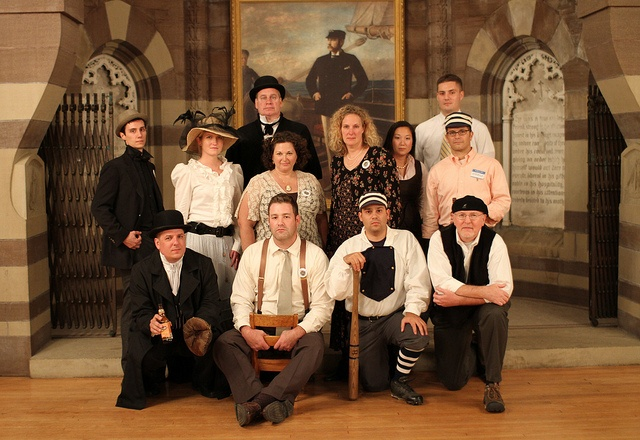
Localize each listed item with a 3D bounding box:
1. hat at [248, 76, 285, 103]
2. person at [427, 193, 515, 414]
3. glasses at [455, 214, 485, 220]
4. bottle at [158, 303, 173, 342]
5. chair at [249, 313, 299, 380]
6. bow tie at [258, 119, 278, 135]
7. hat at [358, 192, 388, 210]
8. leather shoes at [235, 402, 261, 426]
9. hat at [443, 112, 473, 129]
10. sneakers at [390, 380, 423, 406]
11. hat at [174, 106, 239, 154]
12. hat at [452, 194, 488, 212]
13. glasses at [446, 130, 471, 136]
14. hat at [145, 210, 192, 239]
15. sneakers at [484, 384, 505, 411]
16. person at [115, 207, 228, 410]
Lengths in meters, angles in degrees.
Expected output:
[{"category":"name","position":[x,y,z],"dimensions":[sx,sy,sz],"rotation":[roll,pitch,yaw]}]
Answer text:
[{"category":"hat","position":[-0.546,-1.367,6.782],"dimensions":[0.343,0.264,0.332],"rotation":[-1,4,-8]},{"category":"person","position":[1.373,0.731,6.086],"dimensions":[0.788,1.898,0.548],"rotation":[2,4,31]},{"category":"glasses","position":[1.362,-0.027,6.005],"dimensions":[0.252,0.068,0.073],"rotation":[1,4,11]},{"category":"bottle","position":[-1.395,0.949,5.919],"dimensions":[0.123,0.341,0.248],"rotation":[-1,4,-14]},{"category":"chair","position":[-0.395,1.233,5.767],"dimensions":[0.455,0.772,0.468],"rotation":[1,-1,-5]},{"category":"bow tie","position":[-0.518,-0.950,6.770],"dimensions":[0.140,0.183,0.067],"rotation":[3,-2,2]},{"category":"hat","position":[0.473,-0.175,6.006],"dimensions":[0.254,0.160,0.166],"rotation":[0,4,5]},{"category":"leather shoes","position":[-0.612,1.679,5.653],"dimensions":[0.210,0.194,0.116],"rotation":[-3,5,-41]},{"category":"hat","position":[1.326,-0.962,6.332],"dimensions":[0.238,0.167,0.182],"rotation":[1,4,16]},{"category":"sneakers","position":[0.770,1.577,5.976],"dimensions":[0.134,0.144,0.317],"rotation":[-3,6,-42]},{"category":"hat","position":[-1.169,-0.929,6.618],"dimensions":[0.569,0.307,0.567],"rotation":[-8,-30,-13]},{"category":"hat","position":[1.365,-0.136,6.011],"dimensions":[0.311,0.160,0.113],"rotation":[1,4,10]},{"category":"glasses","position":[1.317,-0.832,6.300],"dimensions":[0.181,0.070,0.055],"rotation":[0,4,3]},{"category":"hat","position":[-1.420,0.011,6.117],"dimensions":[0.447,0.206,0.546],"rotation":[-3,-8,-7]},{"category":"sneakers","position":[1.538,1.583,5.828],"dimensions":[0.179,0.230,0.154],"rotation":[1,4,14]},{"category":"person","position":[-1.375,0.823,6.097],"dimensions":[1.085,1.713,1.022],"rotation":[1,14,-10]}]
